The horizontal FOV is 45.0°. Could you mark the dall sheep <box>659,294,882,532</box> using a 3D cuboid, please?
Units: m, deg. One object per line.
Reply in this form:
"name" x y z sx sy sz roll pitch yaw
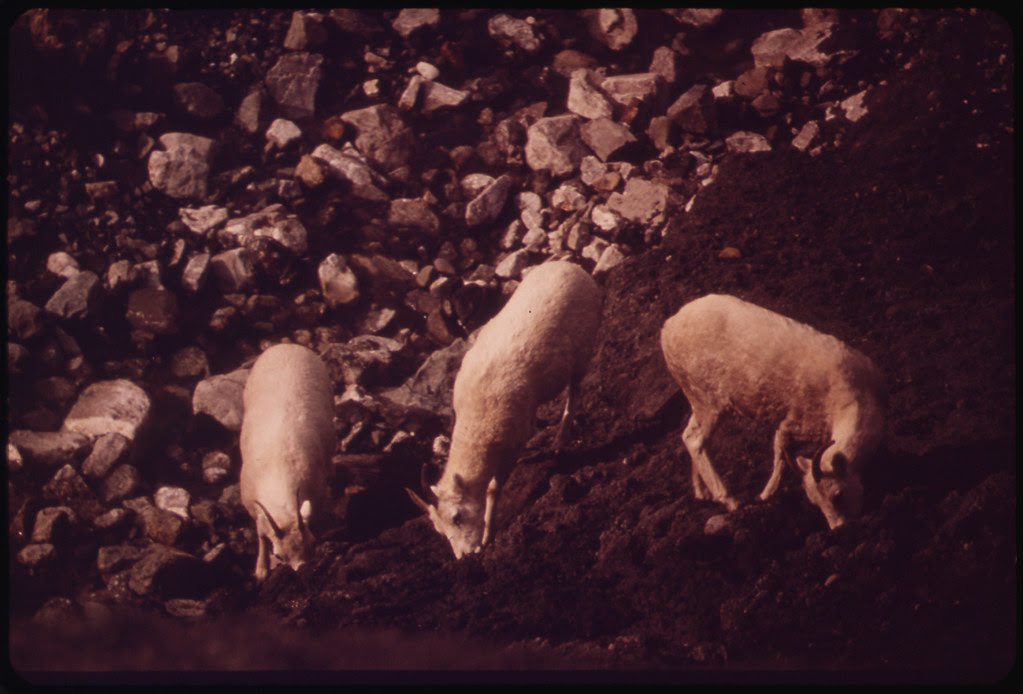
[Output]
"dall sheep" 0.675 0.178 3.193 0.596 0.600 0.294 16 31 27
